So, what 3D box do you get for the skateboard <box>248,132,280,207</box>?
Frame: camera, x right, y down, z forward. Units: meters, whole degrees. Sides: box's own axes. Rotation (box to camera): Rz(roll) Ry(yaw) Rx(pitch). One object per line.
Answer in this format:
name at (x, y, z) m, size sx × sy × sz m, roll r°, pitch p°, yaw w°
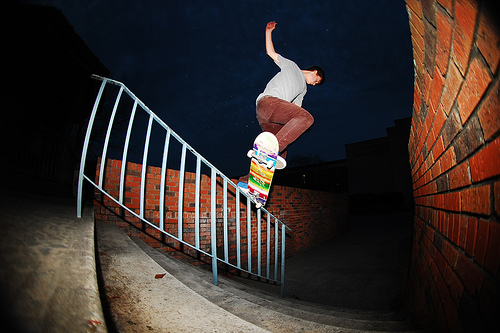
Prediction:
skateboard at (0.223, 0.077, 5.492) m, size 0.420 × 1.633 × 0.225 m, roll 21°, pitch 43°, yaw 14°
